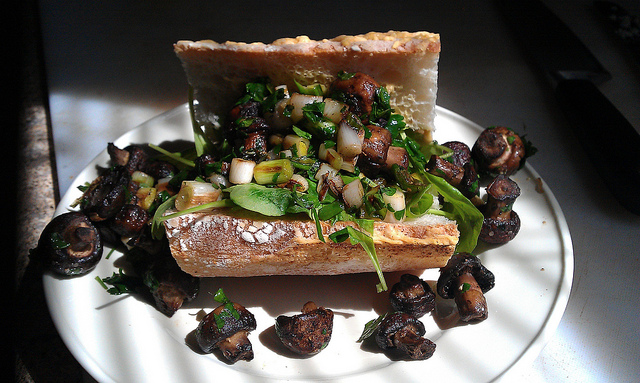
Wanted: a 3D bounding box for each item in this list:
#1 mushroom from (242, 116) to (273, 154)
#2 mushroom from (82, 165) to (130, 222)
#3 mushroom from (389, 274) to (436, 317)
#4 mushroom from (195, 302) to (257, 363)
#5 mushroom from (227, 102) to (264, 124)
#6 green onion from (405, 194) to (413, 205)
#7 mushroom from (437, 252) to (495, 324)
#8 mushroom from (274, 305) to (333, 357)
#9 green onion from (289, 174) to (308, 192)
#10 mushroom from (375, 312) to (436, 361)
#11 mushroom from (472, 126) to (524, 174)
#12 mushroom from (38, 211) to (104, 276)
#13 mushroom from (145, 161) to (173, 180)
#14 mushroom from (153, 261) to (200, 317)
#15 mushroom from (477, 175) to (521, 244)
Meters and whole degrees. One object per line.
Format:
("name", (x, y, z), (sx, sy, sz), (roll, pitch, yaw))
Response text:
("mushroom", (-0.472, -0.423, 4.054), (0.240, 0.081, 0.244), (45, 79, -3))
("mushroom", (-1.532, -0.007, 4.111), (0.346, 0.146, 0.414), (-34, 32, 26))
("mushroom", (0.670, 0.748, 4.002), (0.291, 0.275, 0.285), (-22, 37, -37))
("mushroom", (-0.639, 0.991, 3.872), (0.424, 0.197, 0.354), (19, 62, 10))
("mushroom", (-0.562, -0.602, 4.102), (0.209, 0.063, 0.158), (-15, 13, 33))
("green onion", (0.652, 0.053, 3.963), (0.023, 0.029, 0.102), (34, 47, -7))
("mushroom", (1.076, 0.723, 3.999), (0.451, 0.334, 0.587), (-2, 31, 6))
("mushroom", (-0.100, 0.980, 4.036), (0.442, 0.301, 0.428), (-7, 19, -7))
("green onion", (-0.144, -0.064, 3.841), (0.124, 0.032, 0.095), (41, 67, 6))
("mushroom", (0.617, 1.019, 3.860), (0.411, 0.137, 0.242), (18, 62, 9))
("mushroom", (1.415, -0.341, 4.469), (0.517, 0.202, 0.460), (10, 42, 27))
("mushroom", (-1.829, 0.385, 3.981), (0.403, 0.231, 0.389), (-10, 61, -6))
("mushroom", (-1.252, -0.174, 4.246), (0.167, 0.092, 0.140), (31, 71, 17))
("mushroom", (-1.067, 0.712, 3.987), (0.289, 0.134, 0.376), (37, 70, -15))
("mushroom", (1.367, 0.161, 4.130), (0.294, 0.419, 0.297), (22, 42, 30))
